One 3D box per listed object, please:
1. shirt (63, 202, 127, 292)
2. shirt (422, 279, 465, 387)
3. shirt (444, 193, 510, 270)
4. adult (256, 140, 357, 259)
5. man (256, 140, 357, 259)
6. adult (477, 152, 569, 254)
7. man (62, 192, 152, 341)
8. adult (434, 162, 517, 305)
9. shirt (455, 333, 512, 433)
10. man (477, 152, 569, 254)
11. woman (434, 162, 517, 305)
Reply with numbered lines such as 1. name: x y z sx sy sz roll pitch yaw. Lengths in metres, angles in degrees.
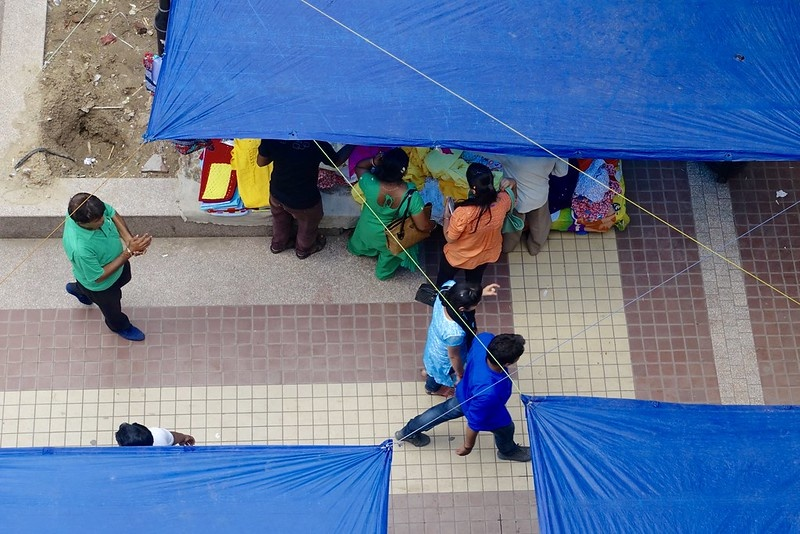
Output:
1. shirt: -2.918 -0.253 9.756 0.478 0.716 0.838 -1 56 2
2. shirt: 0.424 0.671 9.789 0.319 0.979 0.394 -17 75 -7
3. shirt: 0.729 -0.368 10.024 0.618 0.749 0.466 -8 64 -5
4. adult: -0.915 -0.981 10.321 1.023 1.943 0.835 1 48 -10
5. man: -0.926 -0.948 10.317 0.970 1.881 0.781 6 46 -6
6. adult: 1.266 -0.831 10.639 0.700 1.964 0.559 -11 54 -6
7. man: -2.918 0.016 10.028 0.711 1.326 0.516 10 73 -9
8. adult: 0.751 -0.272 10.385 0.779 1.866 0.624 -13 51 -18
9. shirt: 0.768 1.075 9.399 0.462 0.846 0.389 -29 76 6
10. man: 1.255 -0.753 10.630 0.580 1.638 0.445 -6 44 -4
11. woman: 0.748 -0.301 10.401 0.808 1.865 0.648 -15 53 -17
